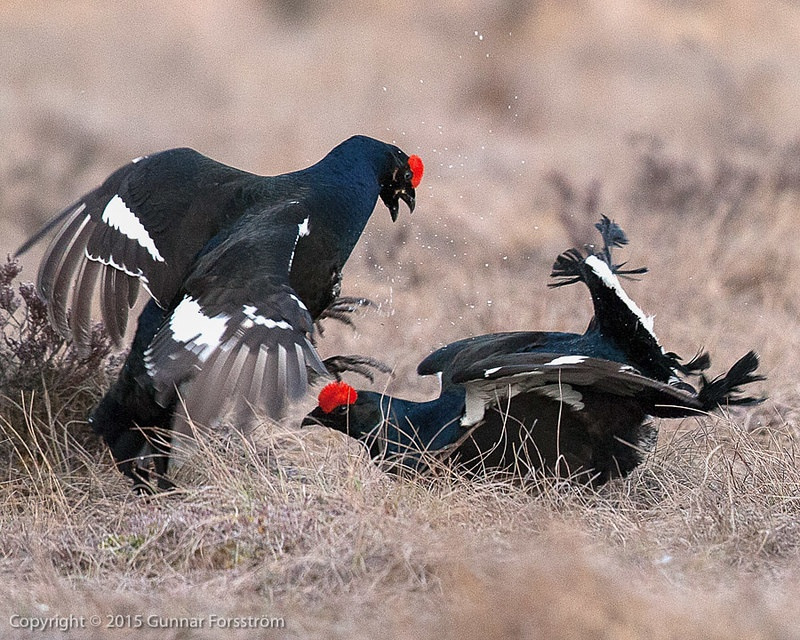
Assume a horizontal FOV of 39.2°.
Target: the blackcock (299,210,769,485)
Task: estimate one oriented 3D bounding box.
[{"bbox_3d":[0.562,0.406,5.746,1.567,0.962,1.445,-26,3,4],"label":"blackcock"}]
